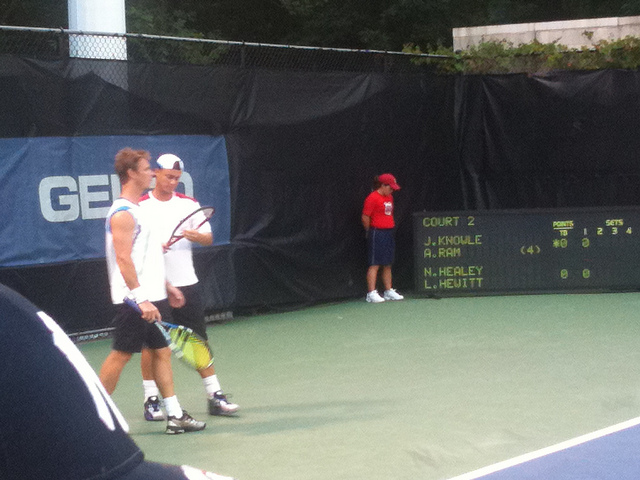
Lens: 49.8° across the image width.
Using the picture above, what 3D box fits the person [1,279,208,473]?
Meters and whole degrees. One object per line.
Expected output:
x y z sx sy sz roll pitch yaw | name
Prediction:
-0.828 0.569 2.745 0.687 0.396 0.470 4 2 -4 | person

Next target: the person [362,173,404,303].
0.997 -0.050 11.020 0.596 2.018 0.745 -1 7 6 | person

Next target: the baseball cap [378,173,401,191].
1.078 -0.909 10.659 0.303 0.194 0.208 25 17 4 | baseball cap

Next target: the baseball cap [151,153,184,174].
-1.388 -0.711 6.333 0.211 0.145 0.429 -4 8 -18 | baseball cap

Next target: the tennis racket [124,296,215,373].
-1.244 0.802 5.961 0.319 1.121 0.066 -44 23 0 | tennis racket

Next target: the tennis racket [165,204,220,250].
-1.288 -0.134 6.475 0.358 0.057 0.653 -28 -18 -50 | tennis racket
